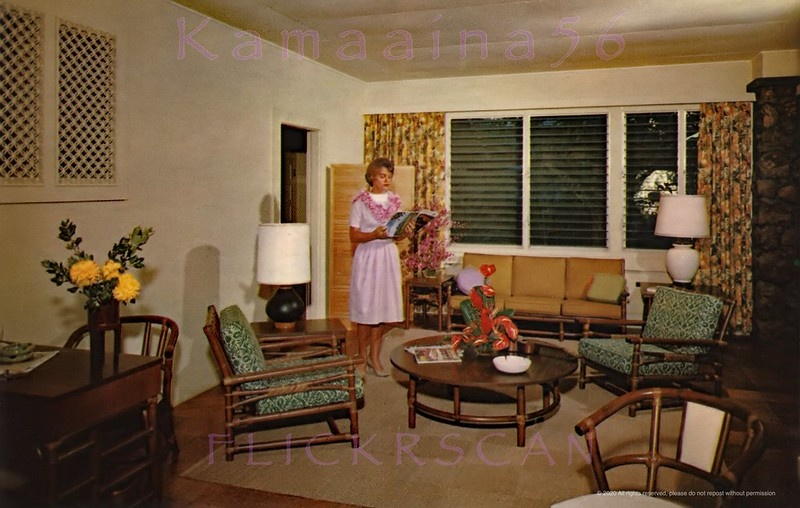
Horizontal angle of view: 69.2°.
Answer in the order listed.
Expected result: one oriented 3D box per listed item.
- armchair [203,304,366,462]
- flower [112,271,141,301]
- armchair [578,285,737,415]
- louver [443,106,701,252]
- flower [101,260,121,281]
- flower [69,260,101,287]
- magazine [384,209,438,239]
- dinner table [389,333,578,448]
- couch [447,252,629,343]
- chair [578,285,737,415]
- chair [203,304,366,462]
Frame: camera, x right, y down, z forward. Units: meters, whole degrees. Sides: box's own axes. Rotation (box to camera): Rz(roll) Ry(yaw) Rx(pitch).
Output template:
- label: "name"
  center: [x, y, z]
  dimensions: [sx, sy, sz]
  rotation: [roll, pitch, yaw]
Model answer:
- label: "armchair"
  center: [-0.996, 1.002, 4.885]
  dimensions: [1.340, 0.954, 1.355]
  rotation: [-1, 4, -10]
- label: "flower"
  center: [-1.879, 0.228, 3.985]
  dimensions: [0.112, 0.182, 0.136]
  rotation: [4, 8, 37]
- label: "armchair"
  center: [2.377, 0.842, 5.508]
  dimensions: [1.141, 0.887, 0.896]
  rotation: [-3, 6, -19]
- label: "louver"
  center: [2.310, -0.993, 8.008]
  dimensions: [3.577, 1.826, 0.044]
  rotation: [7, 15, 39]
- label: "flower"
  center: [-1.973, 0.109, 3.970]
  dimensions: [0.116, 0.134, 0.095]
  rotation: [-3, 7, -21]
- label: "flower"
  center: [-2.119, 0.122, 3.914]
  dimensions: [0.184, 0.096, 0.179]
  rotation: [2, 24, -5]
- label: "magazine"
  center: [0.066, -0.288, 5.383]
  dimensions: [0.345, 0.105, 0.321]
  rotation: [10, -36, -36]
- label: "dinner table"
  center: [0.777, 1.259, 5.338]
  dimensions: [1.700, 0.561, 1.683]
  rotation: [-1, 2, -44]
- label: "couch"
  center: [1.745, 0.592, 7.415]
  dimensions: [2.165, 0.973, 0.713]
  rotation: [2, 16, 21]
- label: "chair"
  center: [2.369, 0.821, 5.507]
  dimensions: [1.275, 0.865, 1.052]
  rotation: [-5, 7, -32]
- label: "chair"
  center: [-0.973, 1.000, 5.014]
  dimensions: [1.388, 0.883, 1.425]
  rotation: [2, 5, -3]
